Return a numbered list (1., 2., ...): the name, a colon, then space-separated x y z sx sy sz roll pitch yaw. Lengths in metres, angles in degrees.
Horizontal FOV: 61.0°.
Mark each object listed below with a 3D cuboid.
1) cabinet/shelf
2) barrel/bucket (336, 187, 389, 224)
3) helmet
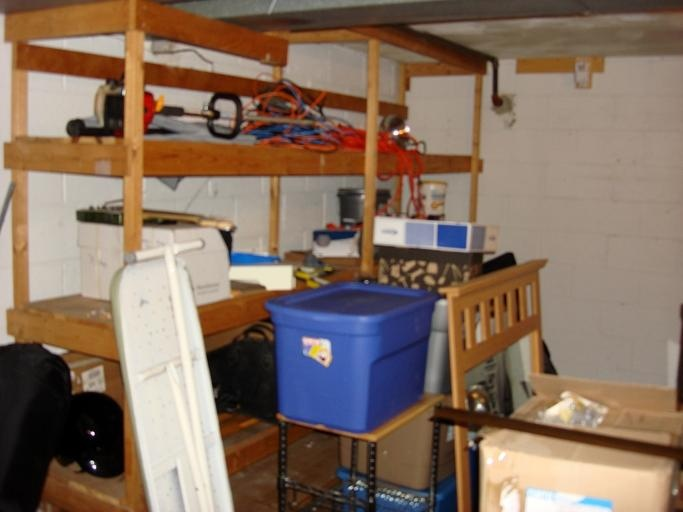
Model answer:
1. cabinet/shelf: -0.482 0.033 2.690 0.608 1.431 2.624 3 8 30
2. barrel/bucket: 0.161 -0.377 4.155 0.294 0.210 0.298 0 10 0
3. helmet: -1.133 0.804 2.643 0.420 0.291 0.103 19 13 12
